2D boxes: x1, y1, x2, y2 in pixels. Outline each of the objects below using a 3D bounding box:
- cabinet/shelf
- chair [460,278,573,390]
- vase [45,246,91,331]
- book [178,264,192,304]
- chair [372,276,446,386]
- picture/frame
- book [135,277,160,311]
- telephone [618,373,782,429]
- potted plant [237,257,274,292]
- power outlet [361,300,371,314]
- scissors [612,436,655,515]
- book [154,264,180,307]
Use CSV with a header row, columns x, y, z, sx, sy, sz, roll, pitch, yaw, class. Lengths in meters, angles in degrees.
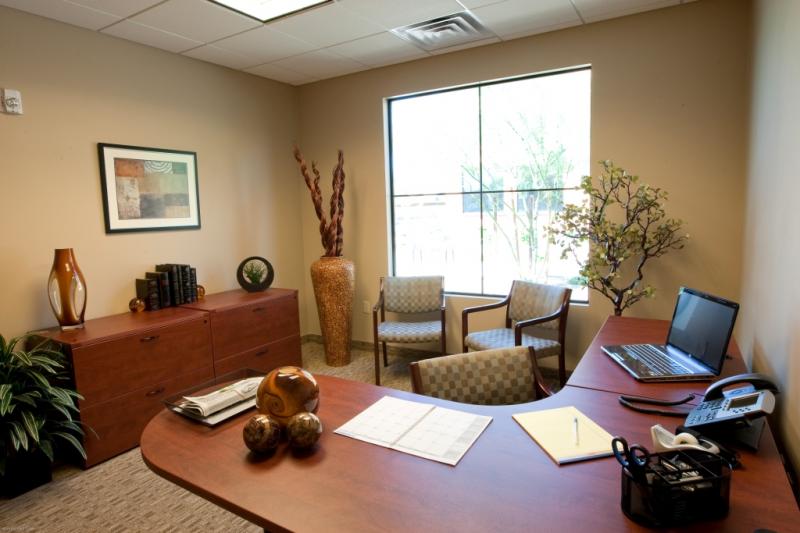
x,y,z,sx,sy,sz,roll,pitch,yaw,class
-1.865,0.796,4.832,0.635,0.908,2.150,3,10,34,cabinet/shelf
1.025,0.678,4.834,0.619,1.039,0.772,-4,7,-30,chair
-2.561,0.169,4.128,0.230,0.607,0.150,-2,9,3,vase
-1.920,0.158,4.782,0.165,0.291,0.300,-4,7,-31,book
0.115,0.627,5.321,0.706,1.021,0.645,0,5,11,chair
-2.186,-0.690,4.775,0.776,0.716,0.035,-1,6,-9,picture/frame
-2.181,0.241,4.693,0.225,0.263,0.183,0,7,-3,book
1.530,0.671,2.647,0.463,0.179,0.385,0,0,18,telephone
-1.453,0.070,5.358,0.327,0.337,0.274,-6,10,-22,potted plant
-0.370,0.446,5.911,0.144,0.208,0.020,1,2,27,power outlet
1.002,0.904,2.337,0.146,0.323,0.163,2,10,24,scissors
-2.112,0.211,4.899,0.166,0.453,0.463,-5,8,-27,book
